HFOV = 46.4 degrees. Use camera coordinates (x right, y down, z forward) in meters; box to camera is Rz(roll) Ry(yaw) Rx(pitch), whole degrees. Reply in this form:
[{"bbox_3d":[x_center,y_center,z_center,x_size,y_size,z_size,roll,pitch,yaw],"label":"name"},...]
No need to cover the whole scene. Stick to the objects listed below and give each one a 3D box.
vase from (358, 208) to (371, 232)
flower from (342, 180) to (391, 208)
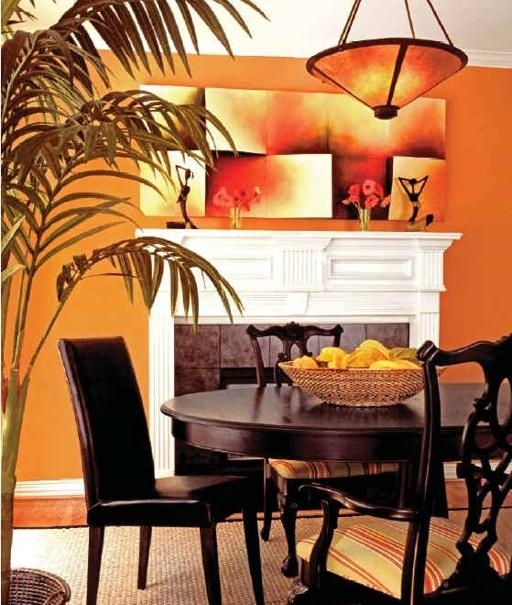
[{"bbox_3d":[0.678,-0.528,3.759,0.067,0.155,0.194,1,3,8],"label":"vase"},{"bbox_3d":[0.695,-0.686,3.775,0.283,0.206,0.315,1,3,22],"label":"flower"}]
